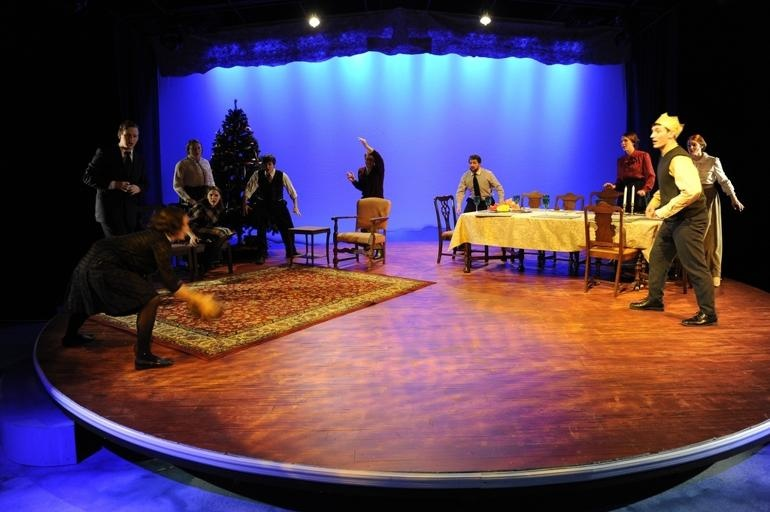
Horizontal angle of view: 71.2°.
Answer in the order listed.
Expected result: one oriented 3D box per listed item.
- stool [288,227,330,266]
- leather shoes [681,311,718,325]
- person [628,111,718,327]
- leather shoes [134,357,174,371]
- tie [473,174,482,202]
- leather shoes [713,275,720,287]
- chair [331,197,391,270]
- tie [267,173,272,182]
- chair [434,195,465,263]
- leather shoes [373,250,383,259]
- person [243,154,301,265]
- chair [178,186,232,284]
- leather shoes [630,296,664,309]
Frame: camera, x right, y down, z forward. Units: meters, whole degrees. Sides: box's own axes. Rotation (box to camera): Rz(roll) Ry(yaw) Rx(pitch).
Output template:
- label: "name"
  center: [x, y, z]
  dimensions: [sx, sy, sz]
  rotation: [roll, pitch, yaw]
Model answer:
- label: "stool"
  center: [-1.174, -0.151, 8.525]
  dimensions: [0.530, 0.519, 0.444]
  rotation: [3, 5, 36]
- label: "leather shoes"
  center: [3.232, 0.641, 5.597]
  dimensions: [0.366, 0.156, 0.151]
  rotation: [0, -2, 9]
- label: "person"
  center: [3.061, -0.232, 5.648]
  dimensions: [0.621, 1.850, 0.801]
  rotation: [-8, 10, -43]
- label: "leather shoes"
  center: [-2.061, 0.971, 4.866]
  dimensions: [0.332, 0.101, 0.123]
  rotation: [-3, 5, -21]
- label: "tie"
  center: [1.478, -1.151, 8.617]
  dimensions: [0.104, 0.327, 0.144]
  rotation: [3, 8, 27]
- label: "leather shoes"
  center: [4.010, 0.298, 6.520]
  dimensions: [0.133, 0.131, 0.050]
  rotation: [6, -8, -41]
- label: "chair"
  center: [-0.335, -0.384, 8.393]
  dimensions: [0.919, 1.028, 0.927]
  rotation: [-2, 7, -24]
- label: "tie"
  center: [-1.849, -1.285, 8.710]
  dimensions: [0.129, 0.134, 0.030]
  rotation: [3, 8, 27]
- label: "chair"
  center: [1.184, -0.435, 8.617]
  dimensions: [0.737, 1.095, 0.743]
  rotation: [-1, 9, 8]
- label: "leather shoes"
  center: [-0.090, -0.020, 8.820]
  dimensions: [0.128, 0.140, 0.146]
  rotation: [-1, -10, 2]
- label: "person"
  center: [-1.867, -0.821, 8.861]
  dimensions: [0.849, 1.711, 1.573]
  rotation: [-2, 7, -12]
- label: "chair"
  center: [-2.501, -0.379, 7.916]
  dimensions: [0.695, 1.174, 0.518]
  rotation: [3, 2, 9]
- label: "leather shoes"
  center: [2.920, 0.523, 6.044]
  dimensions: [0.377, 0.190, 0.151]
  rotation: [4, 7, 26]
